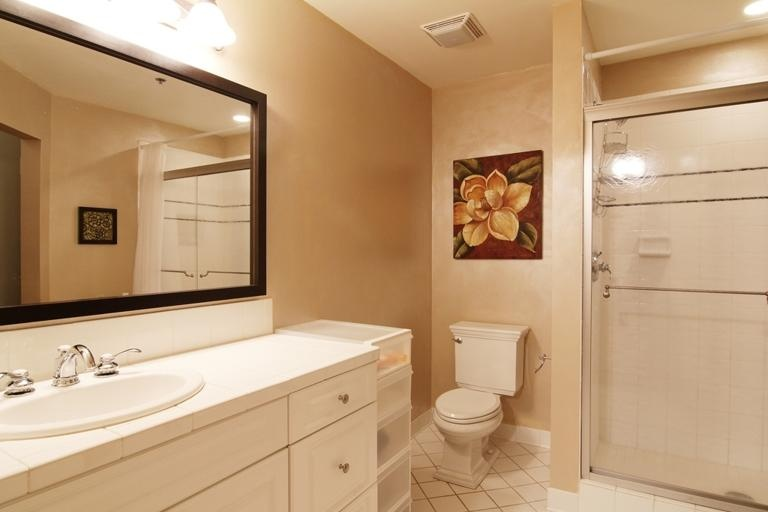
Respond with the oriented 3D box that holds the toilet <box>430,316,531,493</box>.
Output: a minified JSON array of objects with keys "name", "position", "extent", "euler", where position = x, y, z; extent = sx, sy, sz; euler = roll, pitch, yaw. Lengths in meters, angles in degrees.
[{"name":"toilet","position":[0.621,1.007,3.726],"extent":[0.557,0.891,0.942],"euler":[4,8,32]}]

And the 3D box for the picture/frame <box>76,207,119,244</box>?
[{"name":"picture/frame","position":[-1.249,-0.133,2.299],"extent":[0.015,0.194,0.166],"euler":[4,2,43]}]
